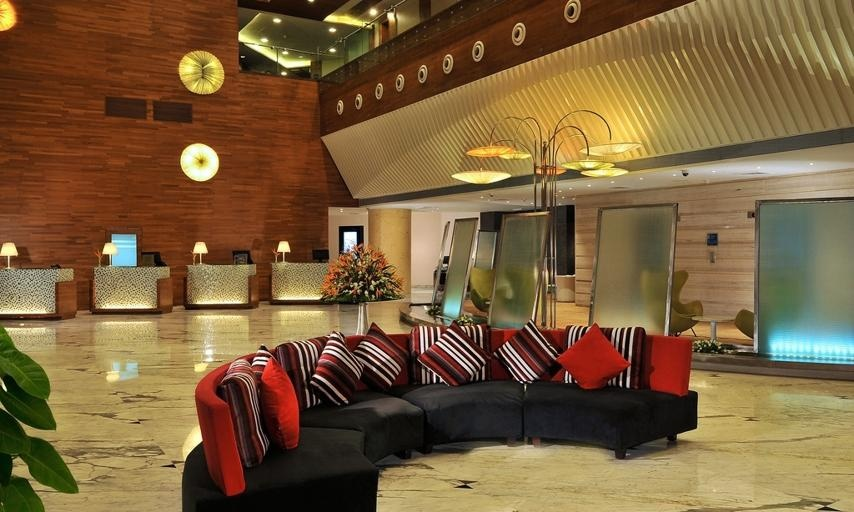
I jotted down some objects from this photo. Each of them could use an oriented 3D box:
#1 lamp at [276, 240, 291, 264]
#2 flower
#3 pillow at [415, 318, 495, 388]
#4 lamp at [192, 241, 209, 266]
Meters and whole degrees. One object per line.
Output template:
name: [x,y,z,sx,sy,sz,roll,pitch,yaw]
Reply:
lamp: [-4.568,-0.154,18.153,0.446,0.687,0.685,-3,11,-12]
flower: [-0.998,0.259,8.695,1.214,0.571,1.079,0,-5,-1]
pillow: [0.325,1.165,6.505,0.768,0.750,0.204,-44,-2,-40]
lamp: [-6.741,-0.088,16.993,0.449,0.694,1.007,-4,10,-21]
